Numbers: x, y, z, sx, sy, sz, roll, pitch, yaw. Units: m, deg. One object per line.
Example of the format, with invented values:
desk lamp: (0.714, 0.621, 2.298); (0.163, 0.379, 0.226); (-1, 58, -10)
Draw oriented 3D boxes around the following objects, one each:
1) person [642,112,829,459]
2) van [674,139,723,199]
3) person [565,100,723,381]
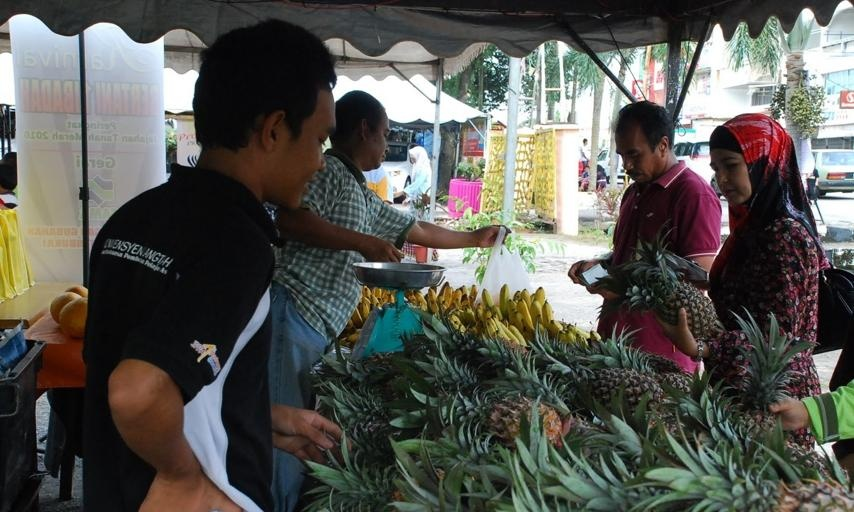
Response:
person: (1.846, 0.548, 3.826); (1.103, 2.589, 1.021); (-1, 12, 23)
van: (11.066, -4.096, 25.645); (1.773, 1.531, 3.743); (0, 17, 5)
person: (1.563, 0.403, 4.672); (0.798, 2.888, 1.158); (0, 7, -8)
